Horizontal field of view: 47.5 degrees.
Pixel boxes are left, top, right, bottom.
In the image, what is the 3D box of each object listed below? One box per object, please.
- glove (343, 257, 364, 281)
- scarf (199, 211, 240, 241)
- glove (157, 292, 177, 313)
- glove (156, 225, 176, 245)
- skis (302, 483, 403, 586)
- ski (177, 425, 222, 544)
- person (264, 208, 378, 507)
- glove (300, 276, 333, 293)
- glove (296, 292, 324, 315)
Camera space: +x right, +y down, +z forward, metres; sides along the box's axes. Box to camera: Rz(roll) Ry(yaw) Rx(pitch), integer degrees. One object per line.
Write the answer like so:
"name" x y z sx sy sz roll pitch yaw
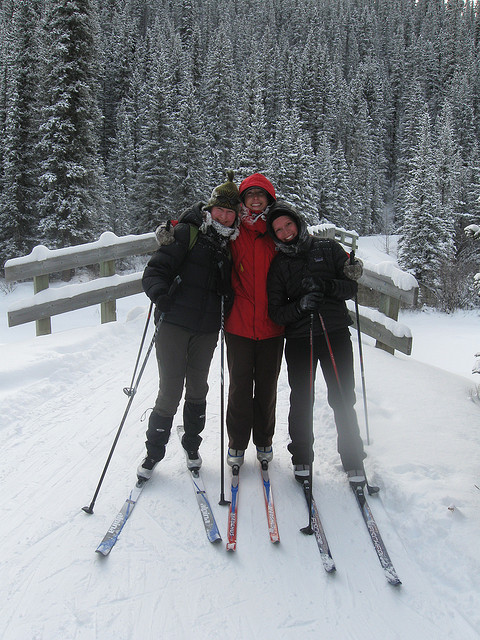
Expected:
"glove" 0.798 -0.377 3.829 0.104 0.159 0.070 2 -19 9
"scarf" -0.136 -0.633 3.739 0.214 0.113 0.175 30 -11 49
"glove" -0.472 -0.114 3.587 0.088 0.138 0.218 3 10 21
"glove" -0.492 -0.561 3.627 0.090 0.128 0.121 0 1 1
"skis" 0.742 1.318 3.405 0.233 0.141 0.788 -1 9 -7
"ski" -0.257 1.103 3.700 0.087 0.067 0.914 0 29 -16
"person" 0.632 0.206 3.756 0.648 1.932 0.805 -7 11 -36
"glove" 0.542 -0.244 3.745 0.239 0.113 0.177 -6 11 -28
"glove" 0.495 -0.115 3.672 0.153 0.154 0.241 7 12 38
